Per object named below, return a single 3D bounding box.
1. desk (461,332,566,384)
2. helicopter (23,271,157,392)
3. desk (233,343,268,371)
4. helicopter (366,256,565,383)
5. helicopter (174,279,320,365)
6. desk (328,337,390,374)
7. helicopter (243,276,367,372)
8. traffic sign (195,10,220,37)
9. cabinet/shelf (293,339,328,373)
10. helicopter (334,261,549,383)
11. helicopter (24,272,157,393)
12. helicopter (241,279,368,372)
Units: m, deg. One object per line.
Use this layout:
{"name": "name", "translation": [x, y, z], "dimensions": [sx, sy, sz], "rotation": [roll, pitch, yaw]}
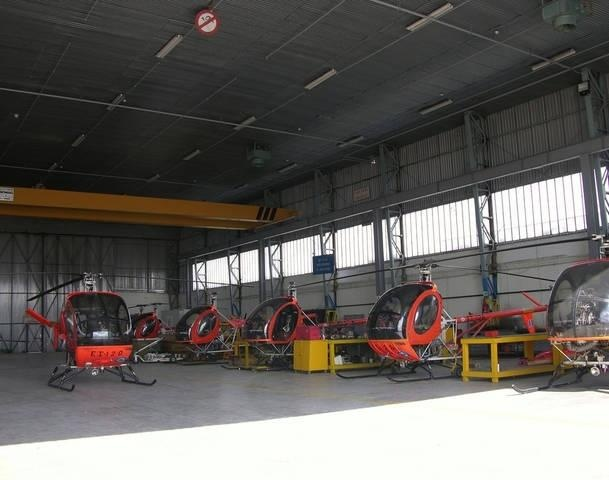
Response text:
{"name": "desk", "translation": [4.399, 2.353, 10.734], "dimensions": [2.915, 0.761, 0.742], "rotation": [5, -12, -41]}
{"name": "helicopter", "translation": [-4.999, 2.284, 12.402], "dimensions": [2.805, 2.325, 4.335], "rotation": [10, -21, -34]}
{"name": "desk", "translation": [-1.591, 3.083, 14.751], "dimensions": [0.777, 0.839, 1.295], "rotation": [0, -9, 3]}
{"name": "helicopter", "translation": [3.991, 1.922, 12.020], "dimensions": [5.649, 2.214, 1.660], "rotation": [5, -6, -31]}
{"name": "helicopter", "translation": [-2.385, 2.727, 15.897], "dimensions": [2.085, 1.884, 6.009], "rotation": [-1, -5, -31]}
{"name": "desk", "translation": [1.538, 2.938, 13.077], "dimensions": [1.993, 0.707, 0.544], "rotation": [5, -12, -18]}
{"name": "helicopter", "translation": [0.096, 2.346, 14.831], "dimensions": [3.861, 1.985, 2.368], "rotation": [4, -2, -23]}
{"name": "traffic sign", "translation": [-2.095, -4.685, 10.972], "dimensions": [0.510, 0.459, 0.438], "rotation": [-5, -7, 20]}
{"name": "cabinet/shelf", "translation": [0.090, 2.644, 12.474], "dimensions": [0.760, 0.432, 0.705], "rotation": [-1, -8, -11]}
{"name": "helicopter", "translation": [3.651, 1.905, 11.716], "dimensions": [5.608, 2.371, 1.522], "rotation": [3, -10, -27]}
{"name": "helicopter", "translation": [-4.856, 1.977, 11.293], "dimensions": [2.322, 1.983, 3.691], "rotation": [1, -7, -29]}
{"name": "helicopter", "translation": [0.003, 2.360, 14.679], "dimensions": [3.700, 1.779, 2.626], "rotation": [7, -10, -36]}
